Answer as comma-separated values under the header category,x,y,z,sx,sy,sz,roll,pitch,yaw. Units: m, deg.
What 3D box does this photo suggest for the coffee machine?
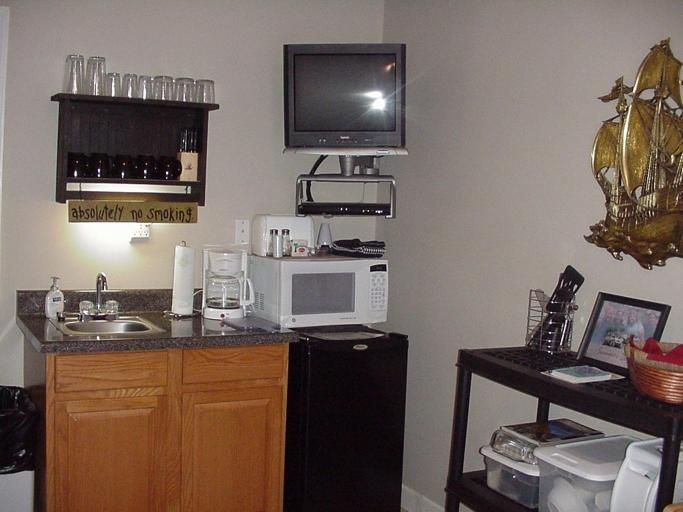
category,x,y,z,sx,sy,sz,roll,pitch,yaw
coffee machine,-0.637,0.140,3.171,0.350,0.495,0.344,0,3,-21

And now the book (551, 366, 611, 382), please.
category,x,y,z,sx,sy,sz,roll,pitch,yaw
book,0.904,0.450,2.164,0.228,0.034,0.144,-2,3,-28

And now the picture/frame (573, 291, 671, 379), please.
category,x,y,z,sx,sy,sz,roll,pitch,yaw
picture/frame,1.092,0.313,2.211,0.029,0.307,0.297,26,-7,-29

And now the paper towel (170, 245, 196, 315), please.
category,x,y,z,sx,sy,sz,roll,pitch,yaw
paper towel,-0.877,0.133,3.198,0.100,0.407,0.118,-1,7,-37

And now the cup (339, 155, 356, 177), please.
category,x,y,z,sx,sy,sz,roll,pitch,yaw
cup,0.034,-0.539,3.466,0.110,0.130,0.113,0,8,0

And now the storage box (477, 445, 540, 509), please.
category,x,y,z,sx,sy,sz,roll,pitch,yaw
storage box,0.657,0.883,2.273,0.145,0.128,0.199,5,0,-37

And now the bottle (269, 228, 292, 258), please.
category,x,y,z,sx,sy,sz,roll,pitch,yaw
bottle,-0.349,-0.069,3.262,0.139,0.211,0.151,0,4,0

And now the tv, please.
category,x,y,z,sx,sy,sz,roll,pitch,yaw
tv,0.007,-0.865,3.520,0.936,0.866,0.528,0,10,0

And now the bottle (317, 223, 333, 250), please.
category,x,y,z,sx,sy,sz,roll,pitch,yaw
bottle,-0.105,-0.117,3.394,0.095,0.153,0.145,1,3,23

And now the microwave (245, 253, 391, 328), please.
category,x,y,z,sx,sy,sz,roll,pitch,yaw
microwave,-0.150,0.200,3.182,0.582,0.344,0.421,0,0,-28
